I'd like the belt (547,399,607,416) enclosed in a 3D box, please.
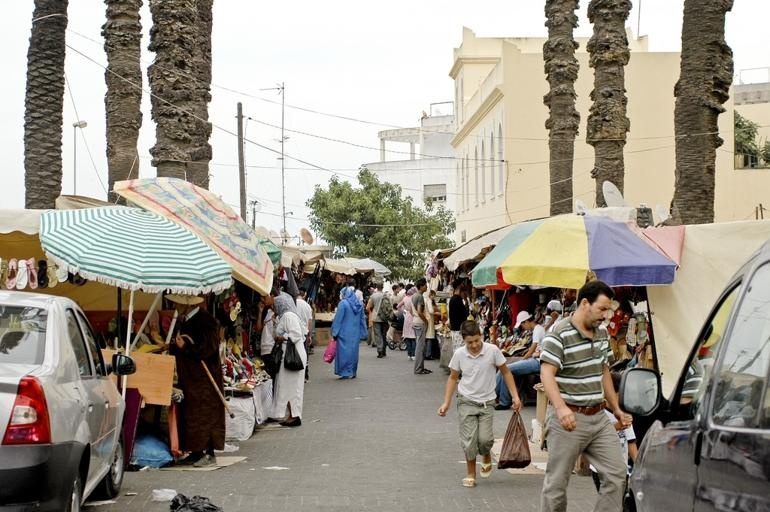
[{"bbox_3d":[1.955,1.459,8.287,0.432,0.104,0.103,0,1,-24],"label":"belt"}]

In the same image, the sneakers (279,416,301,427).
[{"bbox_3d":[-1.645,2.881,15.058,0.411,0.155,0.135,2,0,-2],"label":"sneakers"}]

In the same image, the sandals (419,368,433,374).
[{"bbox_3d":[1.058,3.068,23.038,0.127,0.153,0.365,4,-16,-20],"label":"sandals"}]

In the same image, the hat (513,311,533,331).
[{"bbox_3d":[2.646,1.230,16.614,0.377,0.204,0.243,-35,17,-6],"label":"hat"}]

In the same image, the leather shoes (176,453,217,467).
[{"bbox_3d":[-2.547,2.770,11.755,0.547,0.220,0.193,5,-5,4],"label":"leather shoes"}]
